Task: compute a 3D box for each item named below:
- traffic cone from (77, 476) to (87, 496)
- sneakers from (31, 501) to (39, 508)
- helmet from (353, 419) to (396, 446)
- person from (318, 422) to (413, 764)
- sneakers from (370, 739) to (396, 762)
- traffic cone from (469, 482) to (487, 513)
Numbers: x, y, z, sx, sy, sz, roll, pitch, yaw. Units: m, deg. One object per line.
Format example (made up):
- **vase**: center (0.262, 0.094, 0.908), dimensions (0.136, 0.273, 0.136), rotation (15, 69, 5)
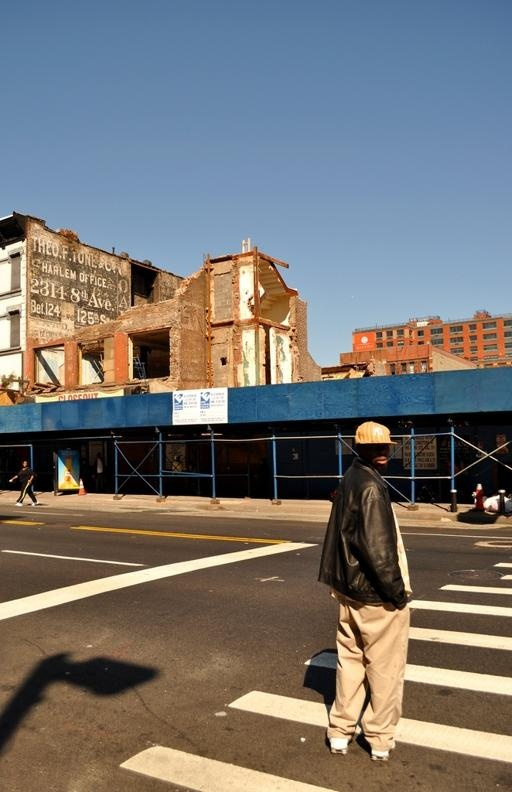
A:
- **traffic cone**: center (-7.438, 3.902, 32.123), dimensions (0.663, 0.924, 0.703), rotation (-1, -11, -13)
- **sneakers**: center (-7.801, 3.820, 26.614), dimensions (0.346, 0.241, 0.117), rotation (5, -13, -28)
- **helmet**: center (0.720, 0.229, 4.685), dimensions (0.144, 0.102, 0.204), rotation (2, -8, -13)
- **person**: center (0.663, 1.144, 4.534), dimensions (0.539, 1.969, 0.549), rotation (0, -2, 2)
- **sneakers**: center (0.745, 2.069, 4.410), dimensions (0.072, 0.091, 0.201), rotation (-2, -36, 5)
- **traffic cone**: center (5.871, 2.648, 19.798), dimensions (0.292, 0.681, 1.305), rotation (0, -2, 15)
